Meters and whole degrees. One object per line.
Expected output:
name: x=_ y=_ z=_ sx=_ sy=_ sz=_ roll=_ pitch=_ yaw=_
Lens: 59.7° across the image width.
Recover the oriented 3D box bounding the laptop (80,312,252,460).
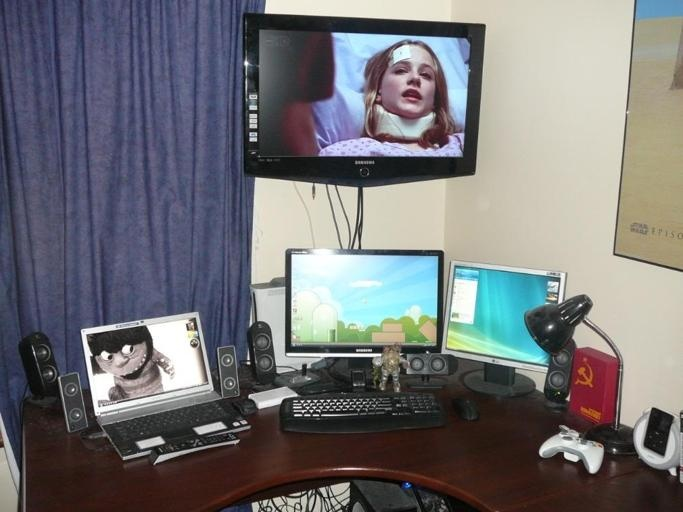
laptop: x=-0.661 y=0.461 z=2.216 sx=0.484 sy=0.302 sz=0.467 roll=-7 pitch=20 yaw=-38

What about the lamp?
lamp: x=0.875 y=0.407 z=2.117 sx=0.406 sy=0.525 sz=0.216 roll=6 pitch=21 yaw=31

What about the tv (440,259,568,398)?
tv: x=0.666 y=0.286 z=2.482 sx=0.457 sy=0.531 sz=0.236 roll=6 pitch=20 yaw=25

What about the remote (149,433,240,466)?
remote: x=-0.493 y=0.653 z=2.087 sx=0.342 sy=0.055 sz=0.100 roll=-2 pitch=25 yaw=-28

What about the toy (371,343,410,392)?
toy: x=0.200 y=0.454 z=2.440 sx=0.172 sy=0.245 sz=0.088 roll=-1 pitch=10 yaw=-9

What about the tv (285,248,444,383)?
tv: x=0.107 y=0.231 z=2.474 sx=0.539 sy=0.425 sz=0.165 roll=0 pitch=4 yaw=0
